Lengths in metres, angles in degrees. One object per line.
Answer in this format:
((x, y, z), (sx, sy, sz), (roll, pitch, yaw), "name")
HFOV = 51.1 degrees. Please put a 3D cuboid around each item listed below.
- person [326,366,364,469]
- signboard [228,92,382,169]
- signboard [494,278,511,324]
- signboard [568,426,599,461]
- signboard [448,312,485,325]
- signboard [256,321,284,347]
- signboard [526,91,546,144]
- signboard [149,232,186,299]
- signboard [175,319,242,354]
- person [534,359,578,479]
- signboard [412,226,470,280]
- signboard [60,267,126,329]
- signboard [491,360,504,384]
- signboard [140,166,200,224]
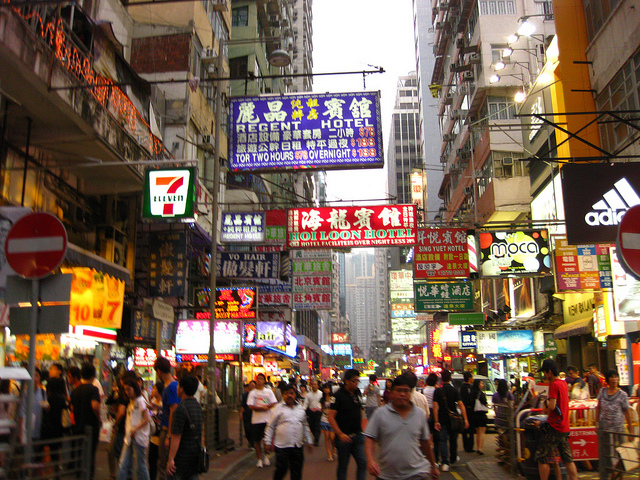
((0.546, 3.342, 11.591), (0.714, 2.231, 0.527), (5, -9, -37), "person")
((-0.393, -2.930, 17.538), (3.824, 2.044, 0.213), (-3, -15, 7), "signboard")
((10.797, 3.385, 39.507), (0.684, 3.413, 5.413), (-4, -17, 13), "signboard")
((5.569, 4.347, 14.016), (0.651, 0.669, 0.396), (-15, -49, 33), "signboard")
((7.089, 3.755, 32.281), (1.627, 0.551, 0.819), (-3, -17, 5), "signboard")
((-2.145, 4.055, 28.946), (1.496, 1.478, 0.871), (0, -26, -2), "signboard")
((10.045, -5.877, 31.097), (0.051, 2.668, 3.455), (9, 25, 35), "signboard")
((-4.927, 0.759, 21.620), (1.211, 2.408, 0.253), (0, 24, -16), "signboard")
((-3.434, 2.897, 20.769), (2.067, 1.149, 1.229), (0, 3, -10), "signboard")
((4.226, 3.218, 12.158), (0.663, 2.099, 0.884), (-6, -16, 19), "person")
((4.142, 0.392, 22.650), (1.392, 1.436, 0.517), (-1, -9, 2), "signboard")
((-5.260, 1.232, 15.516), (2.347, 1.571, 0.152), (-2, -1, 40), "signboard")
((10.593, 7.611, 39.809), (0.515, 1.226, 2.464), (-3, -17, 8), "signboard")
((-3.872, -1.199, 17.141), (1.396, 1.605, 0.546), (0, -13, 1), "signboard")
